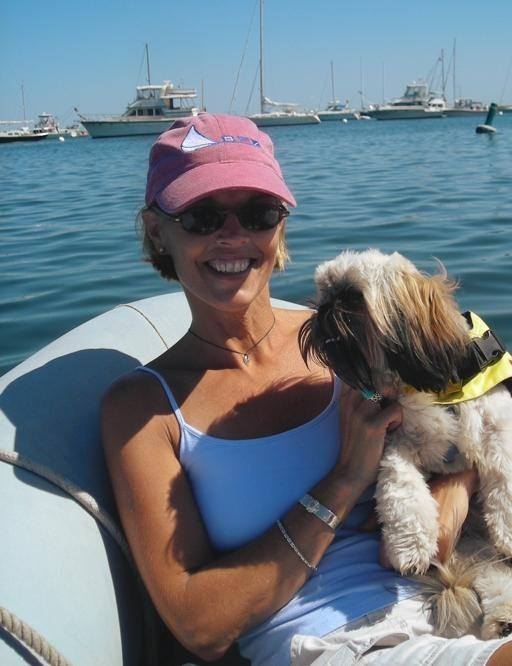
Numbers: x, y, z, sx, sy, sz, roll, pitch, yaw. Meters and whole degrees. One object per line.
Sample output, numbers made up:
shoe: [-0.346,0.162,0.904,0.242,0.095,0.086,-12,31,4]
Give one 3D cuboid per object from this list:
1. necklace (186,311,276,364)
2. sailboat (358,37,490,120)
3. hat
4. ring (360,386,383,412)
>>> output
necklace: [-0.077,0.010,2.322,0.213,0.141,0.182,-8,13,-43]
sailboat: [14.215,-19.260,54.805,8.258,3.474,5.182,-1,15,-13]
hat: [-0.139,-0.591,2.174,0.477,0.270,0.557,-5,19,-19]
ring: [0.328,0.180,1.830,0.077,0.028,0.058,33,14,22]
